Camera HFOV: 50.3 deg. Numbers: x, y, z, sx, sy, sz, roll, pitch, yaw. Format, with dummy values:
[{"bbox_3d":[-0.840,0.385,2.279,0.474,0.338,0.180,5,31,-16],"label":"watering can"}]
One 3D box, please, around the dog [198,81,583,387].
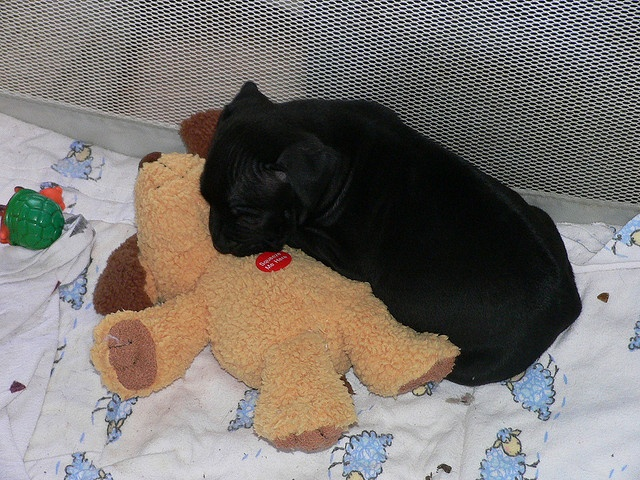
[{"bbox_3d":[0.226,0.031,2.303,1.175,0.472,0.749,36,75,14],"label":"dog"}]
